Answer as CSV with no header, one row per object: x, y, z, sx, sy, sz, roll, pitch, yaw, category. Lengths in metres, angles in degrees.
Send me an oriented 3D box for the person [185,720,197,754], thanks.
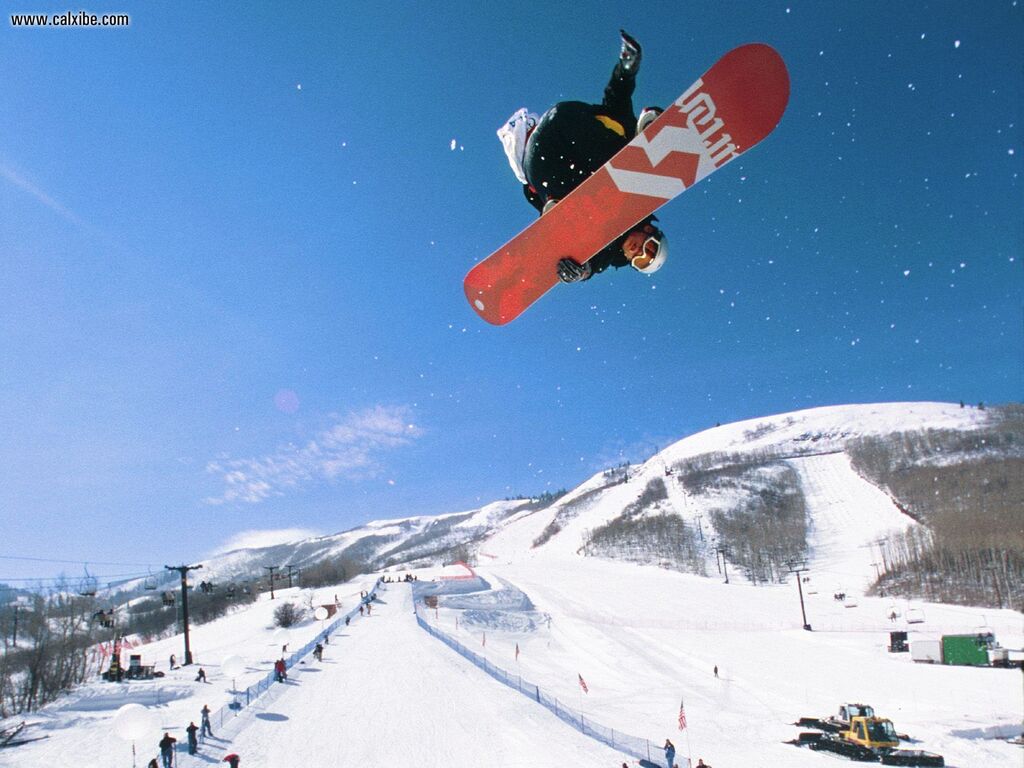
-16.189,17.885,37.736,0.437,1.455,0.685,-2,-3,-24,person

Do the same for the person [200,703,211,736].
-15.854,17.405,38.617,0.523,1.628,0.897,-2,-3,-24,person

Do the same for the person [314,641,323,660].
-12.258,17.031,47.330,0.445,0.877,0.315,0,-7,19,person

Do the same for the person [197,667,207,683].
-19.667,18.467,47.196,0.370,1.282,0.444,3,-2,16,person

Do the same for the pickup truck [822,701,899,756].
19.692,19.659,42.418,2.218,1.809,3.171,7,-22,-14,pickup truck

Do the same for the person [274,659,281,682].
-13.613,16.789,43.711,0.347,1.351,0.222,2,5,-14,person
